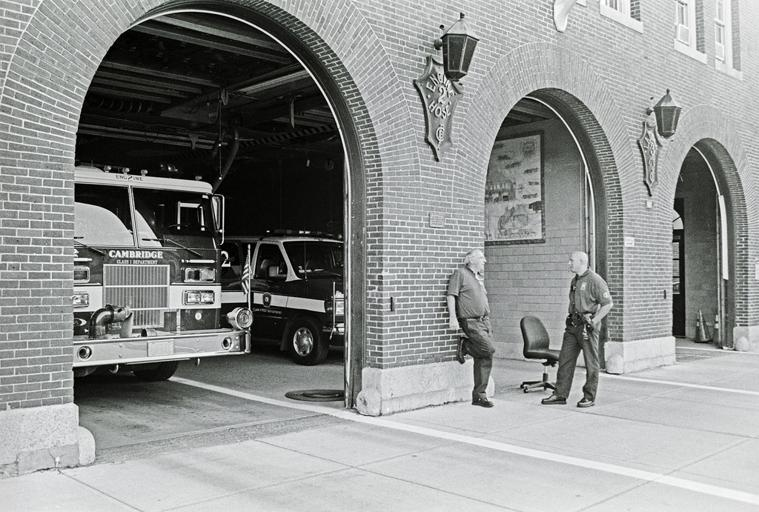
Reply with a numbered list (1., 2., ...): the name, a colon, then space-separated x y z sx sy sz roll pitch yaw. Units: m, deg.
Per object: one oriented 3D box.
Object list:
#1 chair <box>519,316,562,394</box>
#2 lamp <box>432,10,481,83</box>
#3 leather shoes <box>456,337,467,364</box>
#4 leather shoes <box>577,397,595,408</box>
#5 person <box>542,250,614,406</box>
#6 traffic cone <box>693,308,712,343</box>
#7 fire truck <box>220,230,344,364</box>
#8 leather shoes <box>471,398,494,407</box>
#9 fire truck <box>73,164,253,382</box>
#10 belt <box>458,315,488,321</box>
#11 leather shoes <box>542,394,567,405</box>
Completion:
1. chair: 2.958 1.722 12.287 0.759 1.422 0.740 3 8 -18
2. lamp: 1.233 -3.415 10.971 0.734 1.042 0.450 10 6 34
3. leather shoes: 1.350 1.510 11.008 0.178 0.426 0.159 5 9 29
4. leather shoes: 3.439 2.398 11.105 0.350 0.157 0.293 0 -5 -1
5. person: 3.386 1.200 11.326 1.028 2.561 0.499 -2 -6 19
6. traffic cone: 9.662 2.044 20.018 0.472 0.974 0.683 -3 -6 25
7. fire truck: -2.189 0.763 15.428 2.064 2.103 3.702 3 -5 -36
8. leather shoes: 1.691 2.371 10.997 0.311 0.123 0.137 -3 -5 35
9. fire truck: -5.124 -0.048 12.369 3.294 3.305 5.885 -5 13 -37
10. belt: 1.535 0.988 10.918 0.429 0.082 0.156 0 -5 -7
11. leather shoes: 2.943 2.398 11.312 0.396 0.155 0.171 3 -8 2
